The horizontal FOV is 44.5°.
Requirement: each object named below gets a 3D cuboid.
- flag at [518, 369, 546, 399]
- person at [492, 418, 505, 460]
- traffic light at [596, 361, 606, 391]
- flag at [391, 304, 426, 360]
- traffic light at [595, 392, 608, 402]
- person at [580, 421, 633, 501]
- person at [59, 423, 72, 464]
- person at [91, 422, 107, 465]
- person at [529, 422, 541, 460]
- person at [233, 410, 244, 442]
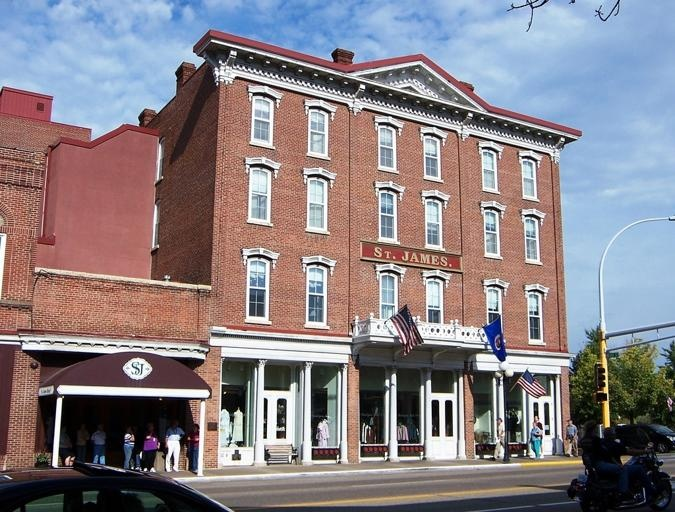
[{"bbox_3d":[10.027,6.638,43.115,1.875,1.655,0.210,23,-52,-29],"label":"flag"},{"bbox_3d":[8.209,9.201,42.045,0.662,2.132,1.278,-4,-16,9],"label":"person"},{"bbox_3d":[12.294,5.555,38.687,0.420,1.282,0.620,-16,-21,41],"label":"traffic light"},{"bbox_3d":[3.123,3.271,37.875,0.860,1.969,1.245,8,-19,-32],"label":"flag"},{"bbox_3d":[12.198,6.453,38.231,0.463,0.415,0.620,-5,-17,11],"label":"traffic light"},{"bbox_3d":[6.892,5.276,21.319,1.040,1.846,0.398,-6,-17,16],"label":"person"},{"bbox_3d":[-10.691,7.349,32.550,0.520,1.535,1.470,3,-17,-18],"label":"person"},{"bbox_3d":[-9.614,7.445,33.205,0.564,1.582,1.300,3,-17,-16],"label":"person"},{"bbox_3d":[10.373,9.493,43.240,0.649,1.996,1.181,-5,-16,12],"label":"person"},{"bbox_3d":[-4.563,7.651,37.567,0.520,1.517,0.144,9,-19,-33],"label":"person"}]
